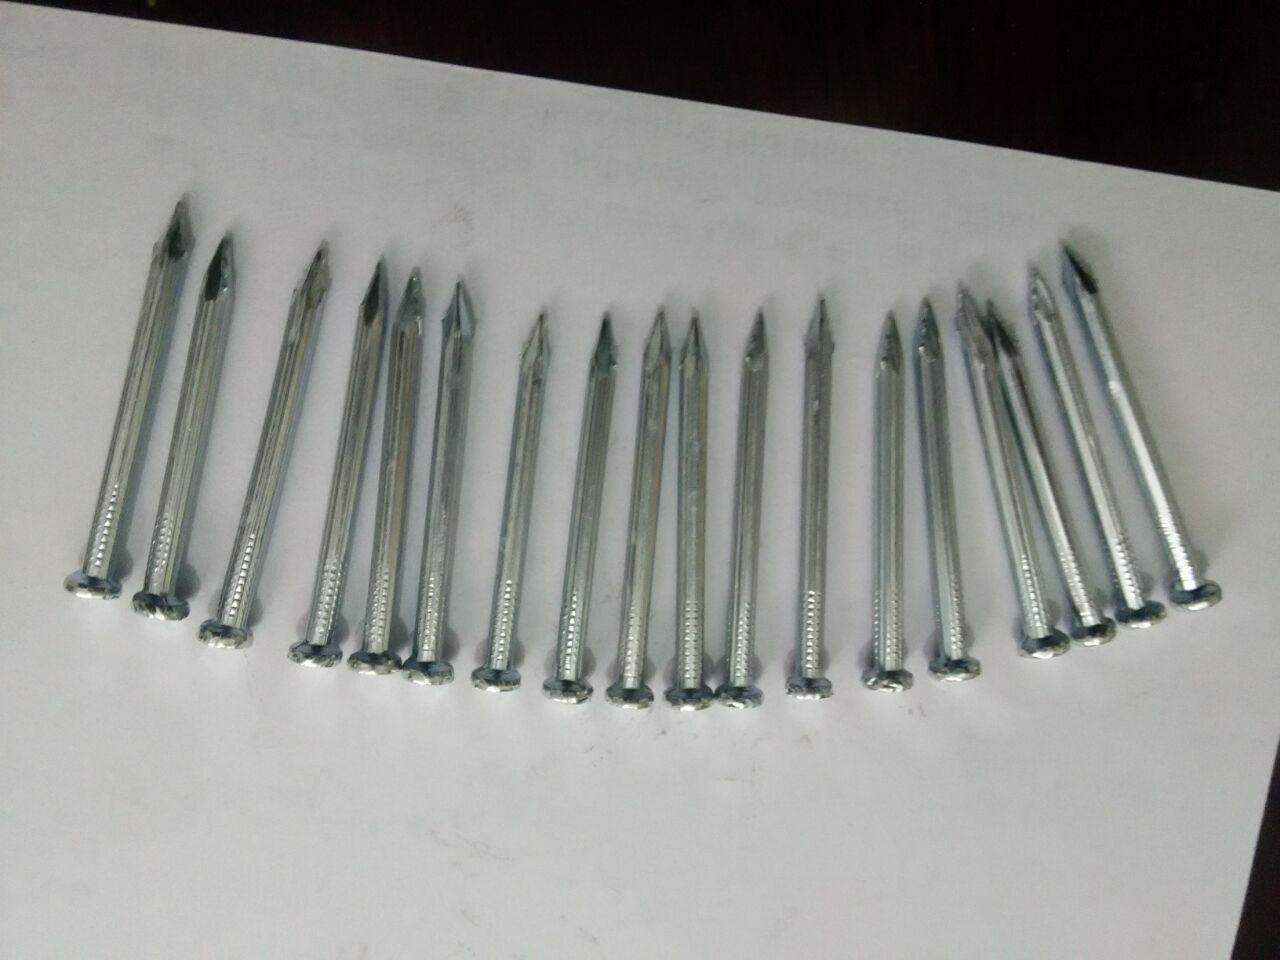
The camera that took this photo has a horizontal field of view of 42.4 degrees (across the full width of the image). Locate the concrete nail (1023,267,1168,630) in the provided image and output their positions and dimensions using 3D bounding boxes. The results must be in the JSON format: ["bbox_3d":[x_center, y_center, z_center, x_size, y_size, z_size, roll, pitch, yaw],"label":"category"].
[{"bbox_3d":[0.946,-0.074,3.366,0.143,0.796,0.139,-10,0,12],"label":"concrete nail"}]

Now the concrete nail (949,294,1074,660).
[{"bbox_3d":[0.742,-0.007,3.397,0.143,0.857,0.161,-5,-3,-32],"label":"concrete nail"}]
